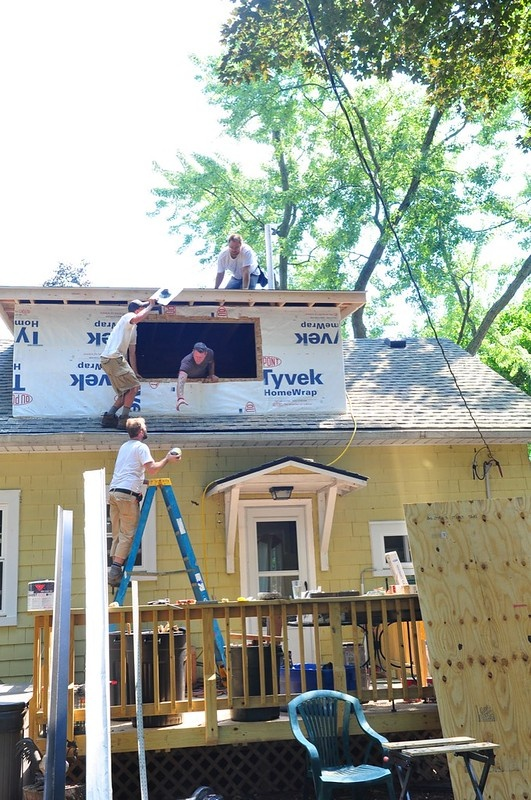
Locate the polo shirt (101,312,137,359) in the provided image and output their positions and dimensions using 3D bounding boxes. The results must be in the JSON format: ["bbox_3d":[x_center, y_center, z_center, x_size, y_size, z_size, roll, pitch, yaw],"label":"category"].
[{"bbox_3d":[-1.710,-0.742,9.819,0.258,0.604,0.393,17,17,-33],"label":"polo shirt"}]

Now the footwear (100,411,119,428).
[{"bbox_3d":[-1.762,0.223,9.625,0.188,0.162,0.403,2,-3,-3],"label":"footwear"}]

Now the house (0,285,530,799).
[{"bbox_3d":[0.178,0.873,10.272,7.522,5.245,4.572,0,-13,-14],"label":"house"}]

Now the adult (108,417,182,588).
[{"bbox_3d":[-1.118,0.904,7.709,0.628,1.441,0.565,6,-8,-27],"label":"adult"}]

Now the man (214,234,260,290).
[{"bbox_3d":[-0.439,-1.747,11.629,0.644,0.922,0.707,-7,9,-16],"label":"man"}]
